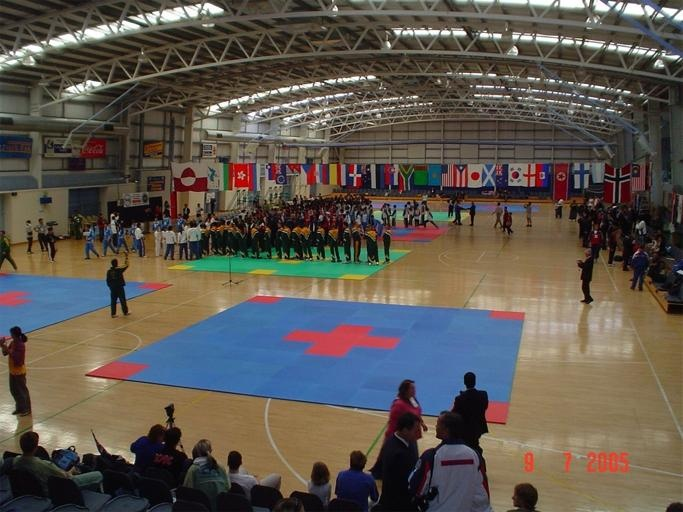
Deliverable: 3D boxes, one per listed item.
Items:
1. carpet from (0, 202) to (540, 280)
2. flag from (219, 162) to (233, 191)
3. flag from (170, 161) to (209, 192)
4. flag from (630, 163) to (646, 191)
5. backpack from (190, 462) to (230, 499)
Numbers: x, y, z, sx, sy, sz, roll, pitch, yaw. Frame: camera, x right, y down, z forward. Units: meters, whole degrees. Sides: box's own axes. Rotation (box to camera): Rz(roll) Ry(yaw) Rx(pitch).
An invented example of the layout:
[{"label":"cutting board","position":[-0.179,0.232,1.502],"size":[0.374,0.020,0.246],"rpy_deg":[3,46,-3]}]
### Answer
[{"label":"carpet","position":[-2.106,-0.879,26.617],"size":[14.865,2.018,9.691],"rpy_deg":[-7,13,-29]},{"label":"flag","position":[-7.120,-4.985,32.658],"size":[0.591,1.505,0.647],"rpy_deg":[-3,11,-12]},{"label":"flag","position":[-9.502,-5.022,32.938],"size":[2.700,2.020,0.197],"rpy_deg":[4,18,15]},{"label":"flag","position":[16.702,-4.440,29.551],"size":[1.744,1.781,0.132],"rpy_deg":[-5,6,-40]},{"label":"backpack","position":[-1.696,2.819,6.654],"size":[0.505,0.344,0.325],"rpy_deg":[2,11,13]}]
